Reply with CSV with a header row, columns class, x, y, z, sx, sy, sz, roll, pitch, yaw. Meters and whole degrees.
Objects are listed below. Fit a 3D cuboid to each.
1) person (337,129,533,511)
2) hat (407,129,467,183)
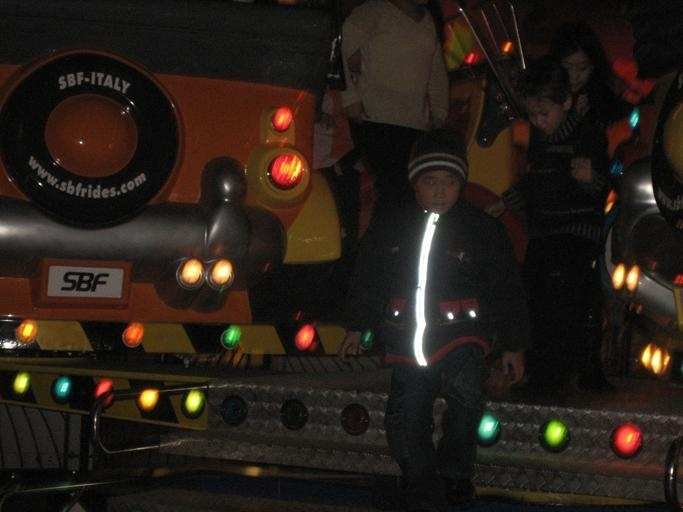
class,x,y,z,sx,sy,sz,roll,pitch,yaw
person,0.412,0.235,2.922,0.814,1.659,0.288,0,-11,0
hat,0.469,-0.425,3.105,0.241,0.238,0.251,0,-13,43
